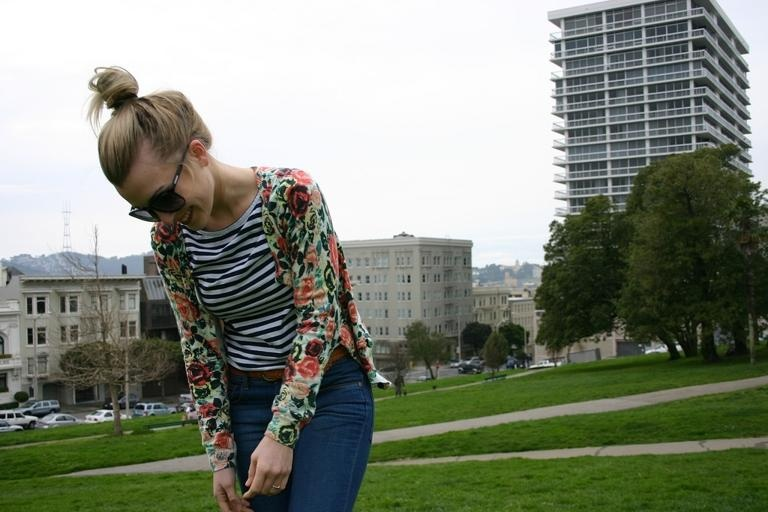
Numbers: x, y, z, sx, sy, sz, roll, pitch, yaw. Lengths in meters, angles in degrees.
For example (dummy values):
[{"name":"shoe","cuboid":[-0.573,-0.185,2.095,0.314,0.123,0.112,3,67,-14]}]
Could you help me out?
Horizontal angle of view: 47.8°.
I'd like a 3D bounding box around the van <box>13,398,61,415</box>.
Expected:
[{"name":"van","cuboid":[-24.302,10.562,60.530,2.810,1.024,1.235,7,-12,-29]}]
